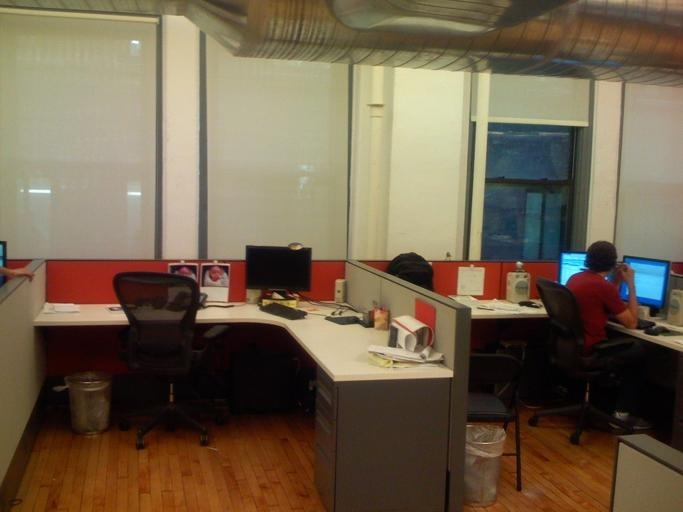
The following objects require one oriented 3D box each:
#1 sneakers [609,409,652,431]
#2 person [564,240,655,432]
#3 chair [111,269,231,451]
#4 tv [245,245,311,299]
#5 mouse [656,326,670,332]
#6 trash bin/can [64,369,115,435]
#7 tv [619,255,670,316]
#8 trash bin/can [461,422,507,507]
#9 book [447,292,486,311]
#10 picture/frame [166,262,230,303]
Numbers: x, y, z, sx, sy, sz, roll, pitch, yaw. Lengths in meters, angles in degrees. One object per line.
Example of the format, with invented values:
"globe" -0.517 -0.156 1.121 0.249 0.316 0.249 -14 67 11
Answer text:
"sneakers" 2.336 1.309 5.002 0.317 0.103 0.194 -2 9 -10
"person" 2.109 0.643 5.004 0.738 1.522 0.626 0 10 -12
"chair" -1.367 0.753 4.745 0.814 1.353 0.718 2 8 8
"tv" -0.549 0.129 5.183 0.449 0.328 0.049 0 0 -1
"mouse" 2.439 0.552 4.665 0.048 0.029 0.085 2 4 4
"trash bin/can" -2.007 1.166 4.819 0.379 0.410 0.331 1 2 -5
"tv" 2.470 0.257 4.988 0.051 0.446 0.485 -1 -1 -24
"trash bin/can" 0.930 1.361 4.030 0.242 0.459 0.380 5 13 14
"book" 1.123 0.404 5.518 0.226 0.062 0.245 1 5 -15
"picture/frame" -1.163 0.216 4.881 0.338 0.244 0.034 1 1 -7
